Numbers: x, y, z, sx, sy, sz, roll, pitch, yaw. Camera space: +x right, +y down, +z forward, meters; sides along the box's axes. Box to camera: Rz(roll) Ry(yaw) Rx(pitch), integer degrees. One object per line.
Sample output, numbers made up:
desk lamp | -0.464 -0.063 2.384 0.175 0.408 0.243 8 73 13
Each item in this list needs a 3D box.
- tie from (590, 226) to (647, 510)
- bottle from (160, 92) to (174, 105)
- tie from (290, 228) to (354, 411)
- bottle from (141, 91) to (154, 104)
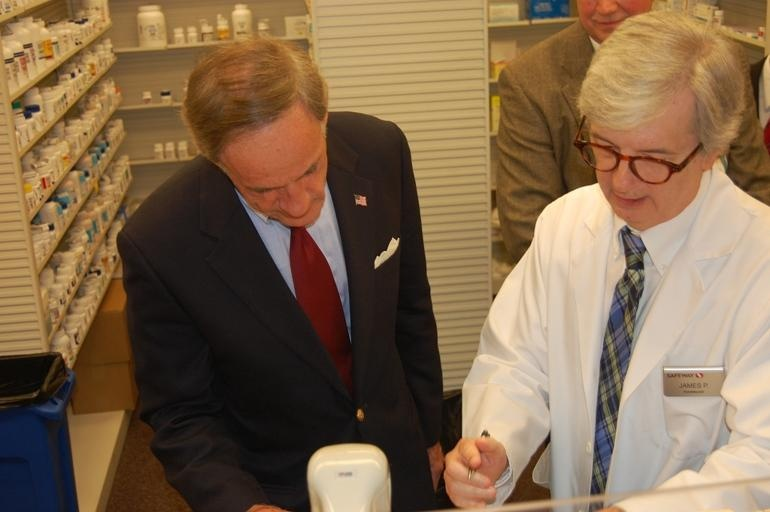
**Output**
tie | 0.752 0.287 2.166 0.117 1.116 0.085 -6 -25 41
bottle | -2.150 -1.555 6.589 0.093 0.103 0.167 -4 2 -4
tie | -0.215 0.207 2.282 0.121 0.777 0.041 -12 3 -18
bottle | -2.340 -1.562 6.588 0.091 0.098 0.137 -16 33 5
